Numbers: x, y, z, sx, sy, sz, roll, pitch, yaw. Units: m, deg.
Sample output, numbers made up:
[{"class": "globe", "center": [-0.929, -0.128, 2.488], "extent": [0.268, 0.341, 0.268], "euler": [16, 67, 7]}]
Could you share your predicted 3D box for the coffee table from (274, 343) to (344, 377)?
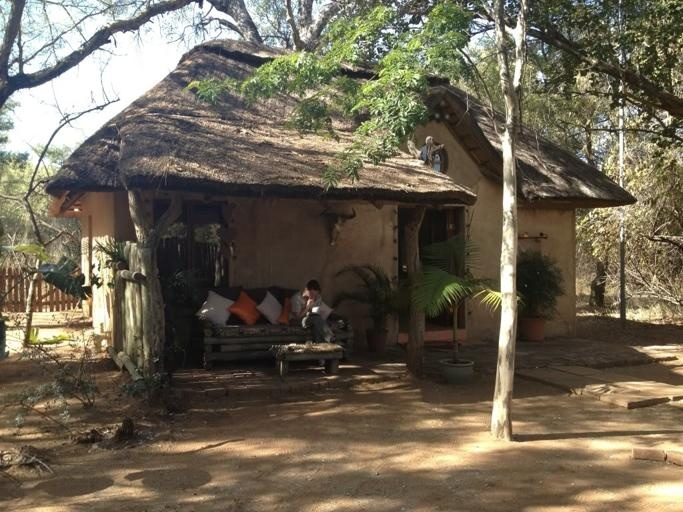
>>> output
[{"class": "coffee table", "center": [-0.614, 1.873, 13.172], "extent": [1.327, 0.529, 0.986], "euler": [-1, 10, -17]}]

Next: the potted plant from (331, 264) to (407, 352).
[{"class": "potted plant", "center": [0.674, 1.116, 15.170], "extent": [1.284, 1.734, 1.682], "euler": [-8, 11, -8]}]

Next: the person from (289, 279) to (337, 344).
[{"class": "person", "center": [-0.595, 1.071, 13.948], "extent": [1.114, 1.118, 1.005], "euler": [0, -1, -16]}]

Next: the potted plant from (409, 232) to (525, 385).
[{"class": "potted plant", "center": [1.995, 0.879, 13.322], "extent": [1.303, 2.726, 3.819], "euler": [1, 12, 6]}]

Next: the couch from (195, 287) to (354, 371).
[{"class": "couch", "center": [-1.382, 1.364, 13.952], "extent": [2.855, 1.490, 1.344], "euler": [0, -1, -26]}]
